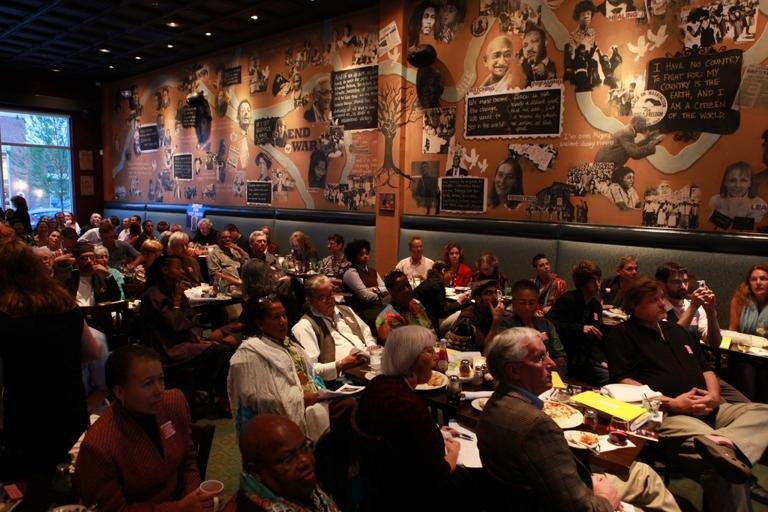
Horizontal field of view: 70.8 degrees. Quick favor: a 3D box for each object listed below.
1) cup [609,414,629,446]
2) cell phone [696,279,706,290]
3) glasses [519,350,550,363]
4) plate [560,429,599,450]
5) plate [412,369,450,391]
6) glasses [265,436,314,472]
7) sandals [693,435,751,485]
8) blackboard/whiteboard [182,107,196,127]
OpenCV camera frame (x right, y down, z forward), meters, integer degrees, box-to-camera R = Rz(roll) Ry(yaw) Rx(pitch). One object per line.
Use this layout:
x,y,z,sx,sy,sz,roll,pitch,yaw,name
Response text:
1.746,1.334,4.079,0.142,0.198,0.146,0,-6,0,cup
3.272,0.304,5.645,0.104,0.181,0.018,-9,16,-33,cell phone
1.058,0.708,3.789,0.150,0.063,0.114,-9,10,5,glasses
1.457,1.375,4.041,0.244,0.080,0.185,3,5,18,plate
0.429,1.063,4.588,0.210,0.113,0.333,4,6,31,plate
-0.601,1.303,3.503,0.223,0.205,0.195,-33,15,20,glasses
2.641,1.600,4.244,0.257,0.124,0.362,-8,45,-42,sandals
-4.547,-3.272,12.715,0.491,0.532,0.055,5,4,44,blackboard/whiteboard
